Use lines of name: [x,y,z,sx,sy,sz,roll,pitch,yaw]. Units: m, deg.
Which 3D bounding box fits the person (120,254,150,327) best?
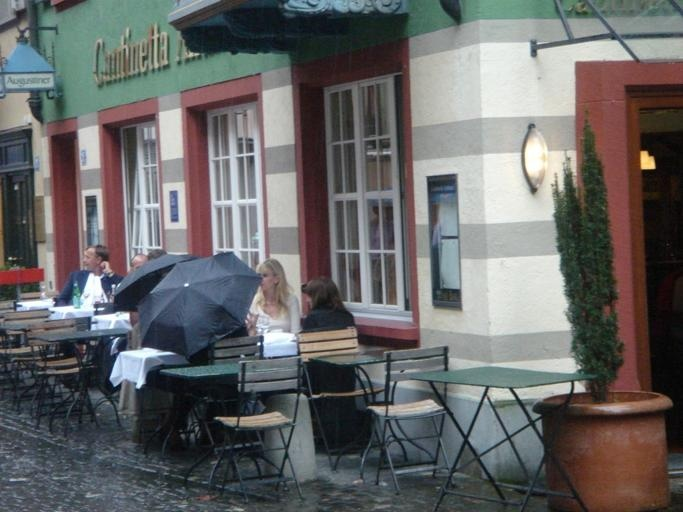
person: [-2.596,0.312,15.363,0.270,0.782,0.823,4,36,-4]
